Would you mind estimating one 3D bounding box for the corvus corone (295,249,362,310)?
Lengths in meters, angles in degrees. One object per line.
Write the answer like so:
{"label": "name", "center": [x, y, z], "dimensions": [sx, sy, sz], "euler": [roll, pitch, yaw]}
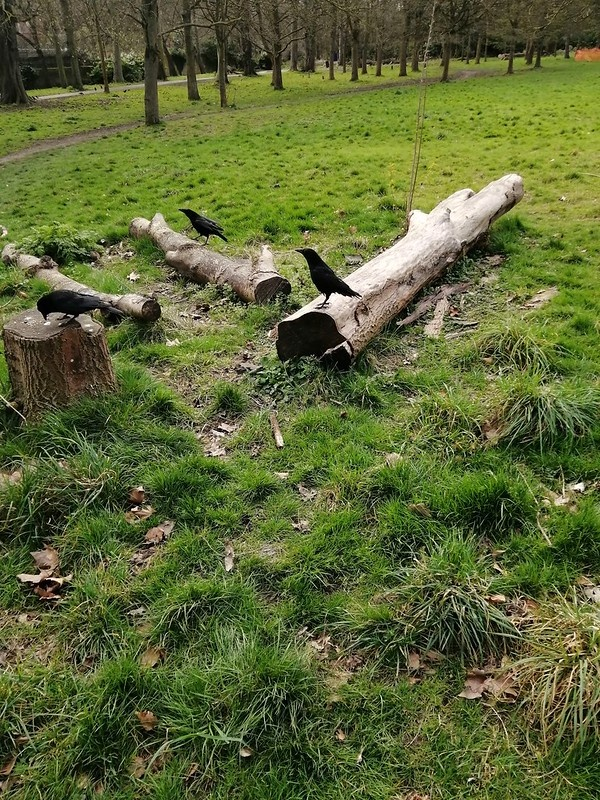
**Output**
{"label": "corvus corone", "center": [0.245, -0.964, 5.626], "dimensions": [0.543, 0.408, 0.207], "euler": [4, 15, 1]}
